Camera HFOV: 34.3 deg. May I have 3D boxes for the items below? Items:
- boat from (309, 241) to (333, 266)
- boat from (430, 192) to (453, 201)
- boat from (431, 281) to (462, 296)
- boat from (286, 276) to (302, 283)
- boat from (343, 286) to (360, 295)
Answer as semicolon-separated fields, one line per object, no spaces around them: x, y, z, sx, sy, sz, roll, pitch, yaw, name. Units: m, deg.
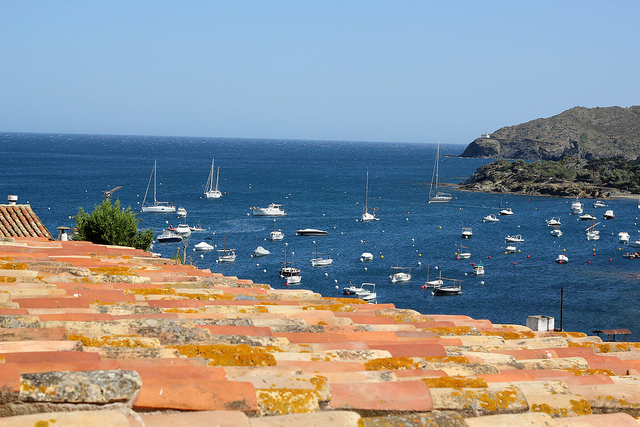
0.129;4.628;117.775;4.341;2.684;2.491;-2;4;-10;boat
18.889;-2.692;162.853;4.035;1.183;1.547;2;-3;-5;boat
12.826;7.913;106.432;3.283;0.875;0.936;2;8;-7;boat
-2.760;6.873;108.264;1.527;0.524;1.048;-1;-1;-11;boat
3.193;7.849;105.890;1.073;0.655;1.604;2;0;5;boat
